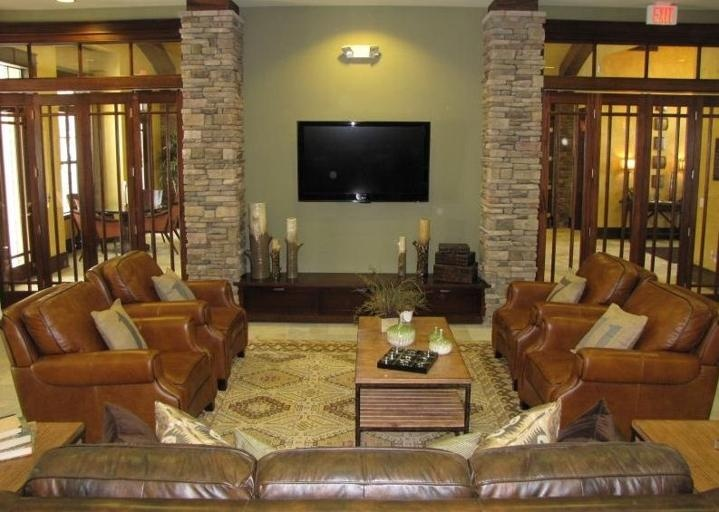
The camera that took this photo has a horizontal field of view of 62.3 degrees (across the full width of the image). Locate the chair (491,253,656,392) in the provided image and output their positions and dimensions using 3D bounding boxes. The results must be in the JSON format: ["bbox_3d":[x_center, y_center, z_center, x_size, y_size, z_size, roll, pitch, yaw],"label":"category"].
[{"bbox_3d":[1.730,0.532,5.210,1.288,1.037,1.062,-1,5,2],"label":"chair"}]

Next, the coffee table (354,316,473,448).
[{"bbox_3d":[0.377,0.644,4.157,0.744,0.585,1.258,-1,11,0],"label":"coffee table"}]

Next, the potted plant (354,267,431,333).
[{"bbox_3d":[0.307,0.358,5.069,0.633,0.368,0.544,0,4,-8],"label":"potted plant"}]

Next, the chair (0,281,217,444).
[{"bbox_3d":[-1.726,0.750,4.470,1.389,1.162,1.056,0,12,-2],"label":"chair"}]

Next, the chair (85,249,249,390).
[{"bbox_3d":[-1.557,0.445,5.208,1.320,1.118,1.130,0,9,-3],"label":"chair"}]

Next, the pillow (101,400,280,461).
[{"bbox_3d":[-0.817,0.773,2.725,0.403,0.112,0.374,18,-9,10],"label":"pillow"}]

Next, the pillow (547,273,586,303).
[{"bbox_3d":[1.749,0.284,4.988,0.086,0.255,0.278,33,1,-17],"label":"pillow"}]

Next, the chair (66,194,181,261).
[{"bbox_3d":[-2.719,-0.329,7.156,1.201,0.712,0.699,-1,7,0],"label":"chair"}]
